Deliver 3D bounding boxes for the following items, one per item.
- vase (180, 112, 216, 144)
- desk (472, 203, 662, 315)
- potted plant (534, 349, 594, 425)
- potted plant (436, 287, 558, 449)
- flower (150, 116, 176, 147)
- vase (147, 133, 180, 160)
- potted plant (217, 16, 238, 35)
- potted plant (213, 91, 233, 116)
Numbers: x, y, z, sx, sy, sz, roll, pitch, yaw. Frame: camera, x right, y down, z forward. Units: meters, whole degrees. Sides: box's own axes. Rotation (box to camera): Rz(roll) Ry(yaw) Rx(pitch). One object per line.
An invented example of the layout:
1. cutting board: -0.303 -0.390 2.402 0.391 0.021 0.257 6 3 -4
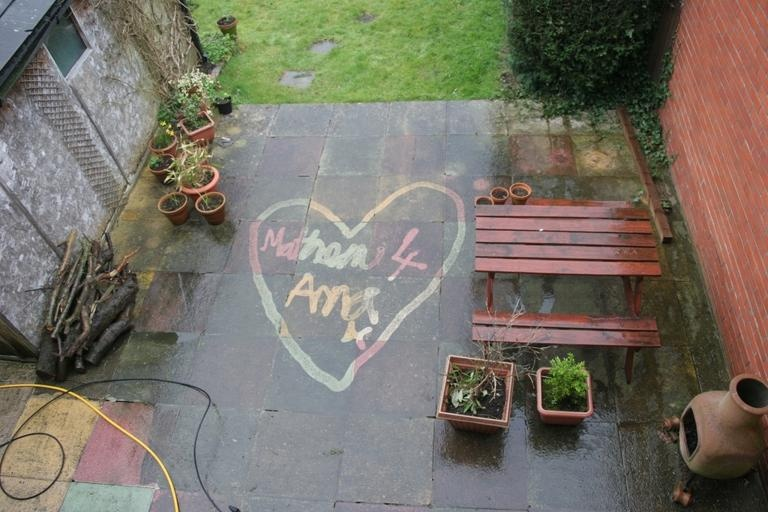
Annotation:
1. vase: -3.658 -2.536 11.990 0.614 0.423 0.642 -23 48 -19
2. desk: 2.788 -0.366 9.137 2.882 1.487 1.658 0 73 2
3. potted plant: 2.531 1.930 8.715 0.822 0.745 1.038 1 66 5
4. potted plant: 1.496 1.753 8.983 1.207 0.613 1.974 7 70 15
5. flower: -4.371 -2.431 11.880 0.592 0.449 0.610 -10 90 -18
6. vase: -4.253 -2.132 11.695 0.443 0.340 0.476 4 59 -3
7. potted plant: -3.560 -5.253 13.739 0.421 0.325 0.500 -14 45 -10
8. potted plant: -3.291 -3.151 12.404 0.404 0.317 0.433 -24 70 -10
